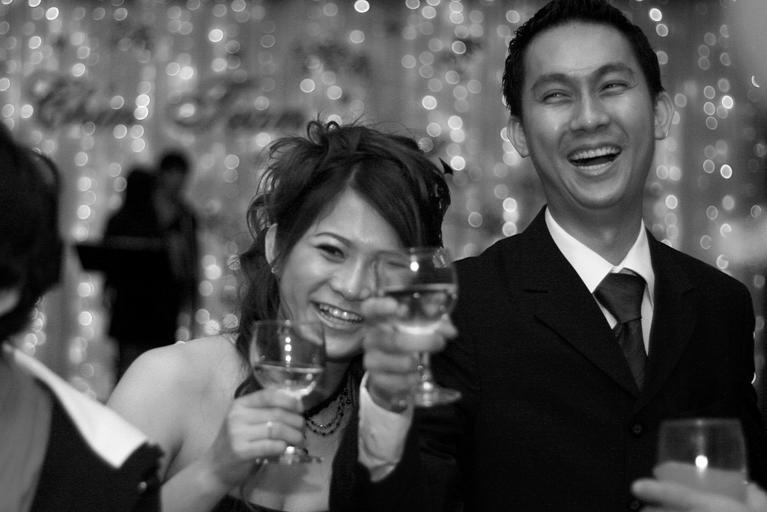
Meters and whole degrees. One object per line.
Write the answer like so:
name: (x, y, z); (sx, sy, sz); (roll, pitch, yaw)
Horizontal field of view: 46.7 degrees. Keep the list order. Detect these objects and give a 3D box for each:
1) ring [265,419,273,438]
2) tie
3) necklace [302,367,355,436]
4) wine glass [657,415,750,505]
ring: (-0.386, 0.590, 3.027); (0.011, 0.047, 0.032); (5, 10, -21)
tie: (0.943, 0.264, 3.365); (0.149, 0.463, 0.039); (-9, -29, 9)
necklace: (-0.219, 0.631, 3.799); (0.181, 0.264, 0.075); (15, -12, 10)
wine glass: (0.966, 0.588, 2.702); (0.274, 0.237, 0.283); (3, 1, 10)
